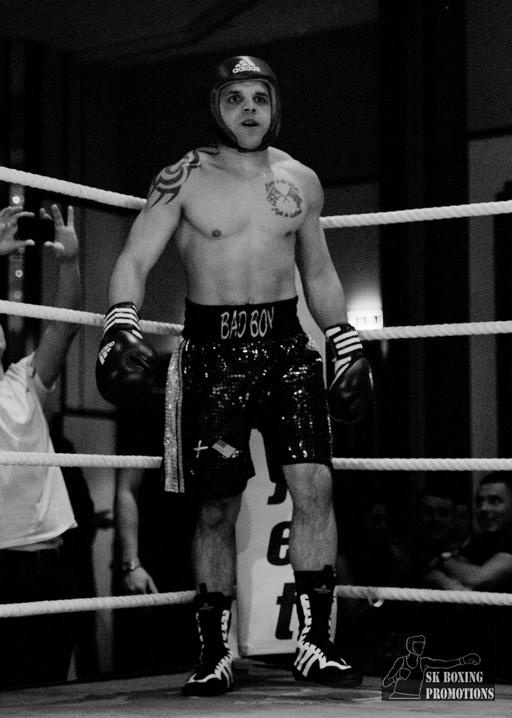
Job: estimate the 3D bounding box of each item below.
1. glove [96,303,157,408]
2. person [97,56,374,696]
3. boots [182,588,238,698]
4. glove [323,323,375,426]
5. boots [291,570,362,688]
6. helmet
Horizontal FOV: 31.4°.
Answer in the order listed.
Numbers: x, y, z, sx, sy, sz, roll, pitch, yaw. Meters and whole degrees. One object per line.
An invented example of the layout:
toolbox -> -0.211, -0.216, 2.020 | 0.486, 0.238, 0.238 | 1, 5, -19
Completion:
glove -> -0.222, -0.011, 1.552 | 0.096, 0.186, 0.175 | 1, -6, -7
person -> -0.038, -0.001, 1.668 | 0.513, 1.141, 0.305 | 2, -6, -14
boots -> -0.087, 0.501, 1.621 | 0.077, 0.173, 0.104 | 0, -6, 5
glove -> 0.175, 0.026, 1.769 | 0.074, 0.088, 0.207 | -4, 36, 3
boots -> 0.125, 0.475, 1.630 | 0.116, 0.199, 0.112 | 1, -6, -9
helmet -> -0.036, -0.473, 1.747 | 0.135, 0.190, 0.172 | 0, -6, -10
